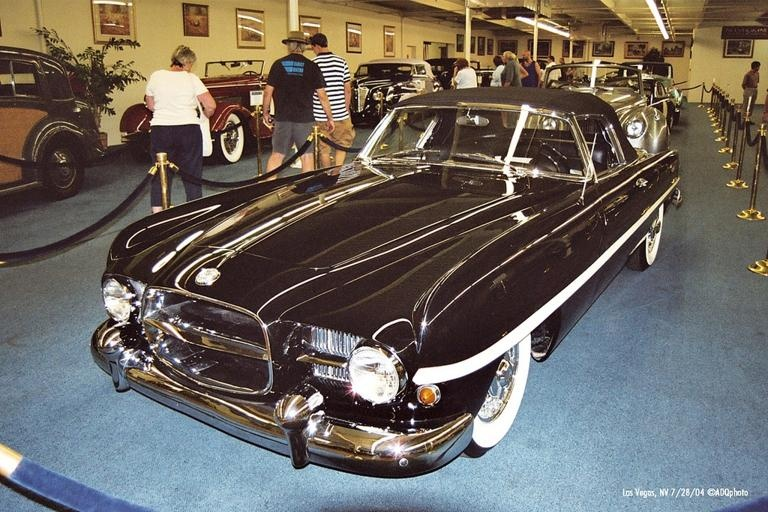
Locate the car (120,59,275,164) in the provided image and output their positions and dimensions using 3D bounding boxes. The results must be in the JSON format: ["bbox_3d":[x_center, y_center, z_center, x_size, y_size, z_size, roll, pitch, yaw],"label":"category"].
[{"bbox_3d":[-3.137,-2.846,10.789,2.203,1.922,4.156,8,17,23],"label":"car"}]

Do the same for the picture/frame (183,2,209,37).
[{"bbox_3d":[-4.694,-5.858,12.913,0.061,0.692,0.844,2,25,29],"label":"picture/frame"}]

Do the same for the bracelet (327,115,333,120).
[{"bbox_3d":[-0.754,-1.897,7.179,0.063,0.074,0.068,-4,15,0],"label":"bracelet"}]

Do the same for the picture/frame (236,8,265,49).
[{"bbox_3d":[-3.713,-6.297,14.478,0.234,1.008,1.169,9,24,18],"label":"picture/frame"}]

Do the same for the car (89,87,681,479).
[{"bbox_3d":[0.056,-0.155,3.383,3.416,1.594,2.136,-19,30,-39],"label":"car"}]

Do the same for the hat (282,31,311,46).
[{"bbox_3d":[-1.180,-2.930,7.018,0.320,0.156,0.744,-2,24,-8],"label":"hat"}]
